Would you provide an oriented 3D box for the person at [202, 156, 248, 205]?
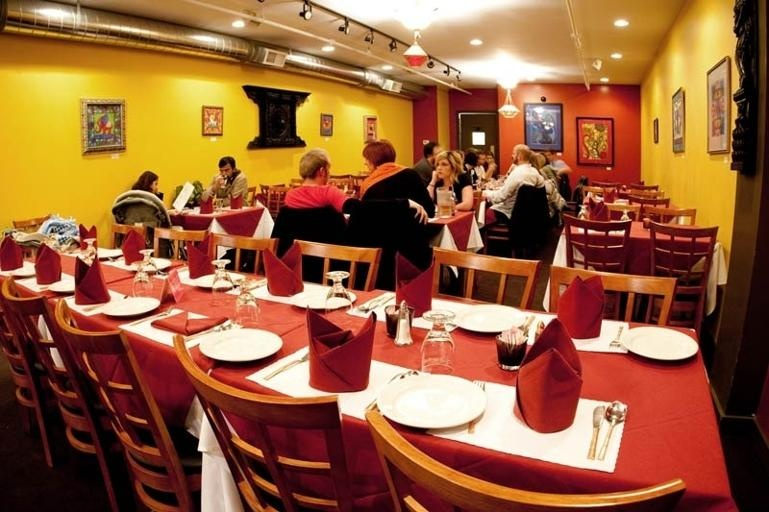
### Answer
[{"bbox_3d":[-2.286,-0.857,7.820,0.590,1.038,0.576,2,-1,-17],"label":"person"}]

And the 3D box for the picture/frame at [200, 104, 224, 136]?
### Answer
[{"bbox_3d":[-2.796,-2.203,8.867,0.082,0.675,0.543,5,4,31],"label":"picture/frame"}]

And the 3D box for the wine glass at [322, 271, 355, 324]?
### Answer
[{"bbox_3d":[-0.247,0.200,3.053,0.186,0.313,0.209,2,9,23],"label":"wine glass"}]

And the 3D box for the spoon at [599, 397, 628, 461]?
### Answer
[{"bbox_3d":[0.846,0.659,2.069,0.073,0.045,0.326,3,16,30],"label":"spoon"}]

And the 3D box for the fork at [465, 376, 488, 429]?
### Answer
[{"bbox_3d":[0.401,0.593,2.301,0.039,0.043,0.376,-7,33,29],"label":"fork"}]

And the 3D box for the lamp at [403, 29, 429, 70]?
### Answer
[{"bbox_3d":[0.394,-2.661,6.911,0.300,0.584,0.323,-7,16,-29],"label":"lamp"}]

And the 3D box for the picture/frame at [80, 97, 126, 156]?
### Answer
[{"bbox_3d":[-3.729,-1.750,7.360,0.045,0.789,0.756,16,27,25],"label":"picture/frame"}]

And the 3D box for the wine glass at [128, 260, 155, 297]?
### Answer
[{"bbox_3d":[-1.473,0.162,3.337,0.136,0.228,0.137,-12,-16,-9],"label":"wine glass"}]

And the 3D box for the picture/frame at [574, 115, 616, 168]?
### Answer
[{"bbox_3d":[5.258,-2.916,13.744,1.199,1.845,0.068,1,2,30],"label":"picture/frame"}]

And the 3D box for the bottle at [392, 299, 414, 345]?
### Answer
[{"bbox_3d":[0.092,0.316,2.646,0.094,0.215,0.100,2,17,-1],"label":"bottle"}]

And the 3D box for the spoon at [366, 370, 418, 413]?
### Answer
[{"bbox_3d":[0.023,0.521,2.318,0.085,0.025,0.331,-1,22,26],"label":"spoon"}]

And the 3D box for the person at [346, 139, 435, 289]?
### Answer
[{"bbox_3d":[-0.046,-0.258,4.858,0.566,1.473,0.666,-7,26,-25],"label":"person"}]

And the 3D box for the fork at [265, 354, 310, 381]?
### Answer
[{"bbox_3d":[-0.437,0.501,2.477,0.203,0.024,0.027,-30,44,-35],"label":"fork"}]

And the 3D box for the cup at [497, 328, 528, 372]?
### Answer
[{"bbox_3d":[0.560,0.430,2.482,0.130,0.147,0.126,5,-5,0],"label":"cup"}]

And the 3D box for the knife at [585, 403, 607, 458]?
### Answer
[{"bbox_3d":[0.823,0.687,2.162,0.043,0.276,0.013,3,25,7],"label":"knife"}]

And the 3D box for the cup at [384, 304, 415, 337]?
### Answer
[{"bbox_3d":[0.074,0.303,2.697,0.138,0.161,0.141,0,0,0],"label":"cup"}]

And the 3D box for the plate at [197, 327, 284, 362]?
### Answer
[{"bbox_3d":[-0.670,0.423,2.554,0.395,0.046,0.421,4,7,2],"label":"plate"}]

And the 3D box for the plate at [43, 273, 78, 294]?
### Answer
[{"bbox_3d":[-1.949,0.180,3.341,0.133,0.026,0.142,4,22,7],"label":"plate"}]

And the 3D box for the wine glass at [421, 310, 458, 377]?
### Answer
[{"bbox_3d":[0.254,0.372,2.518,0.197,0.386,0.226,1,4,13],"label":"wine glass"}]
